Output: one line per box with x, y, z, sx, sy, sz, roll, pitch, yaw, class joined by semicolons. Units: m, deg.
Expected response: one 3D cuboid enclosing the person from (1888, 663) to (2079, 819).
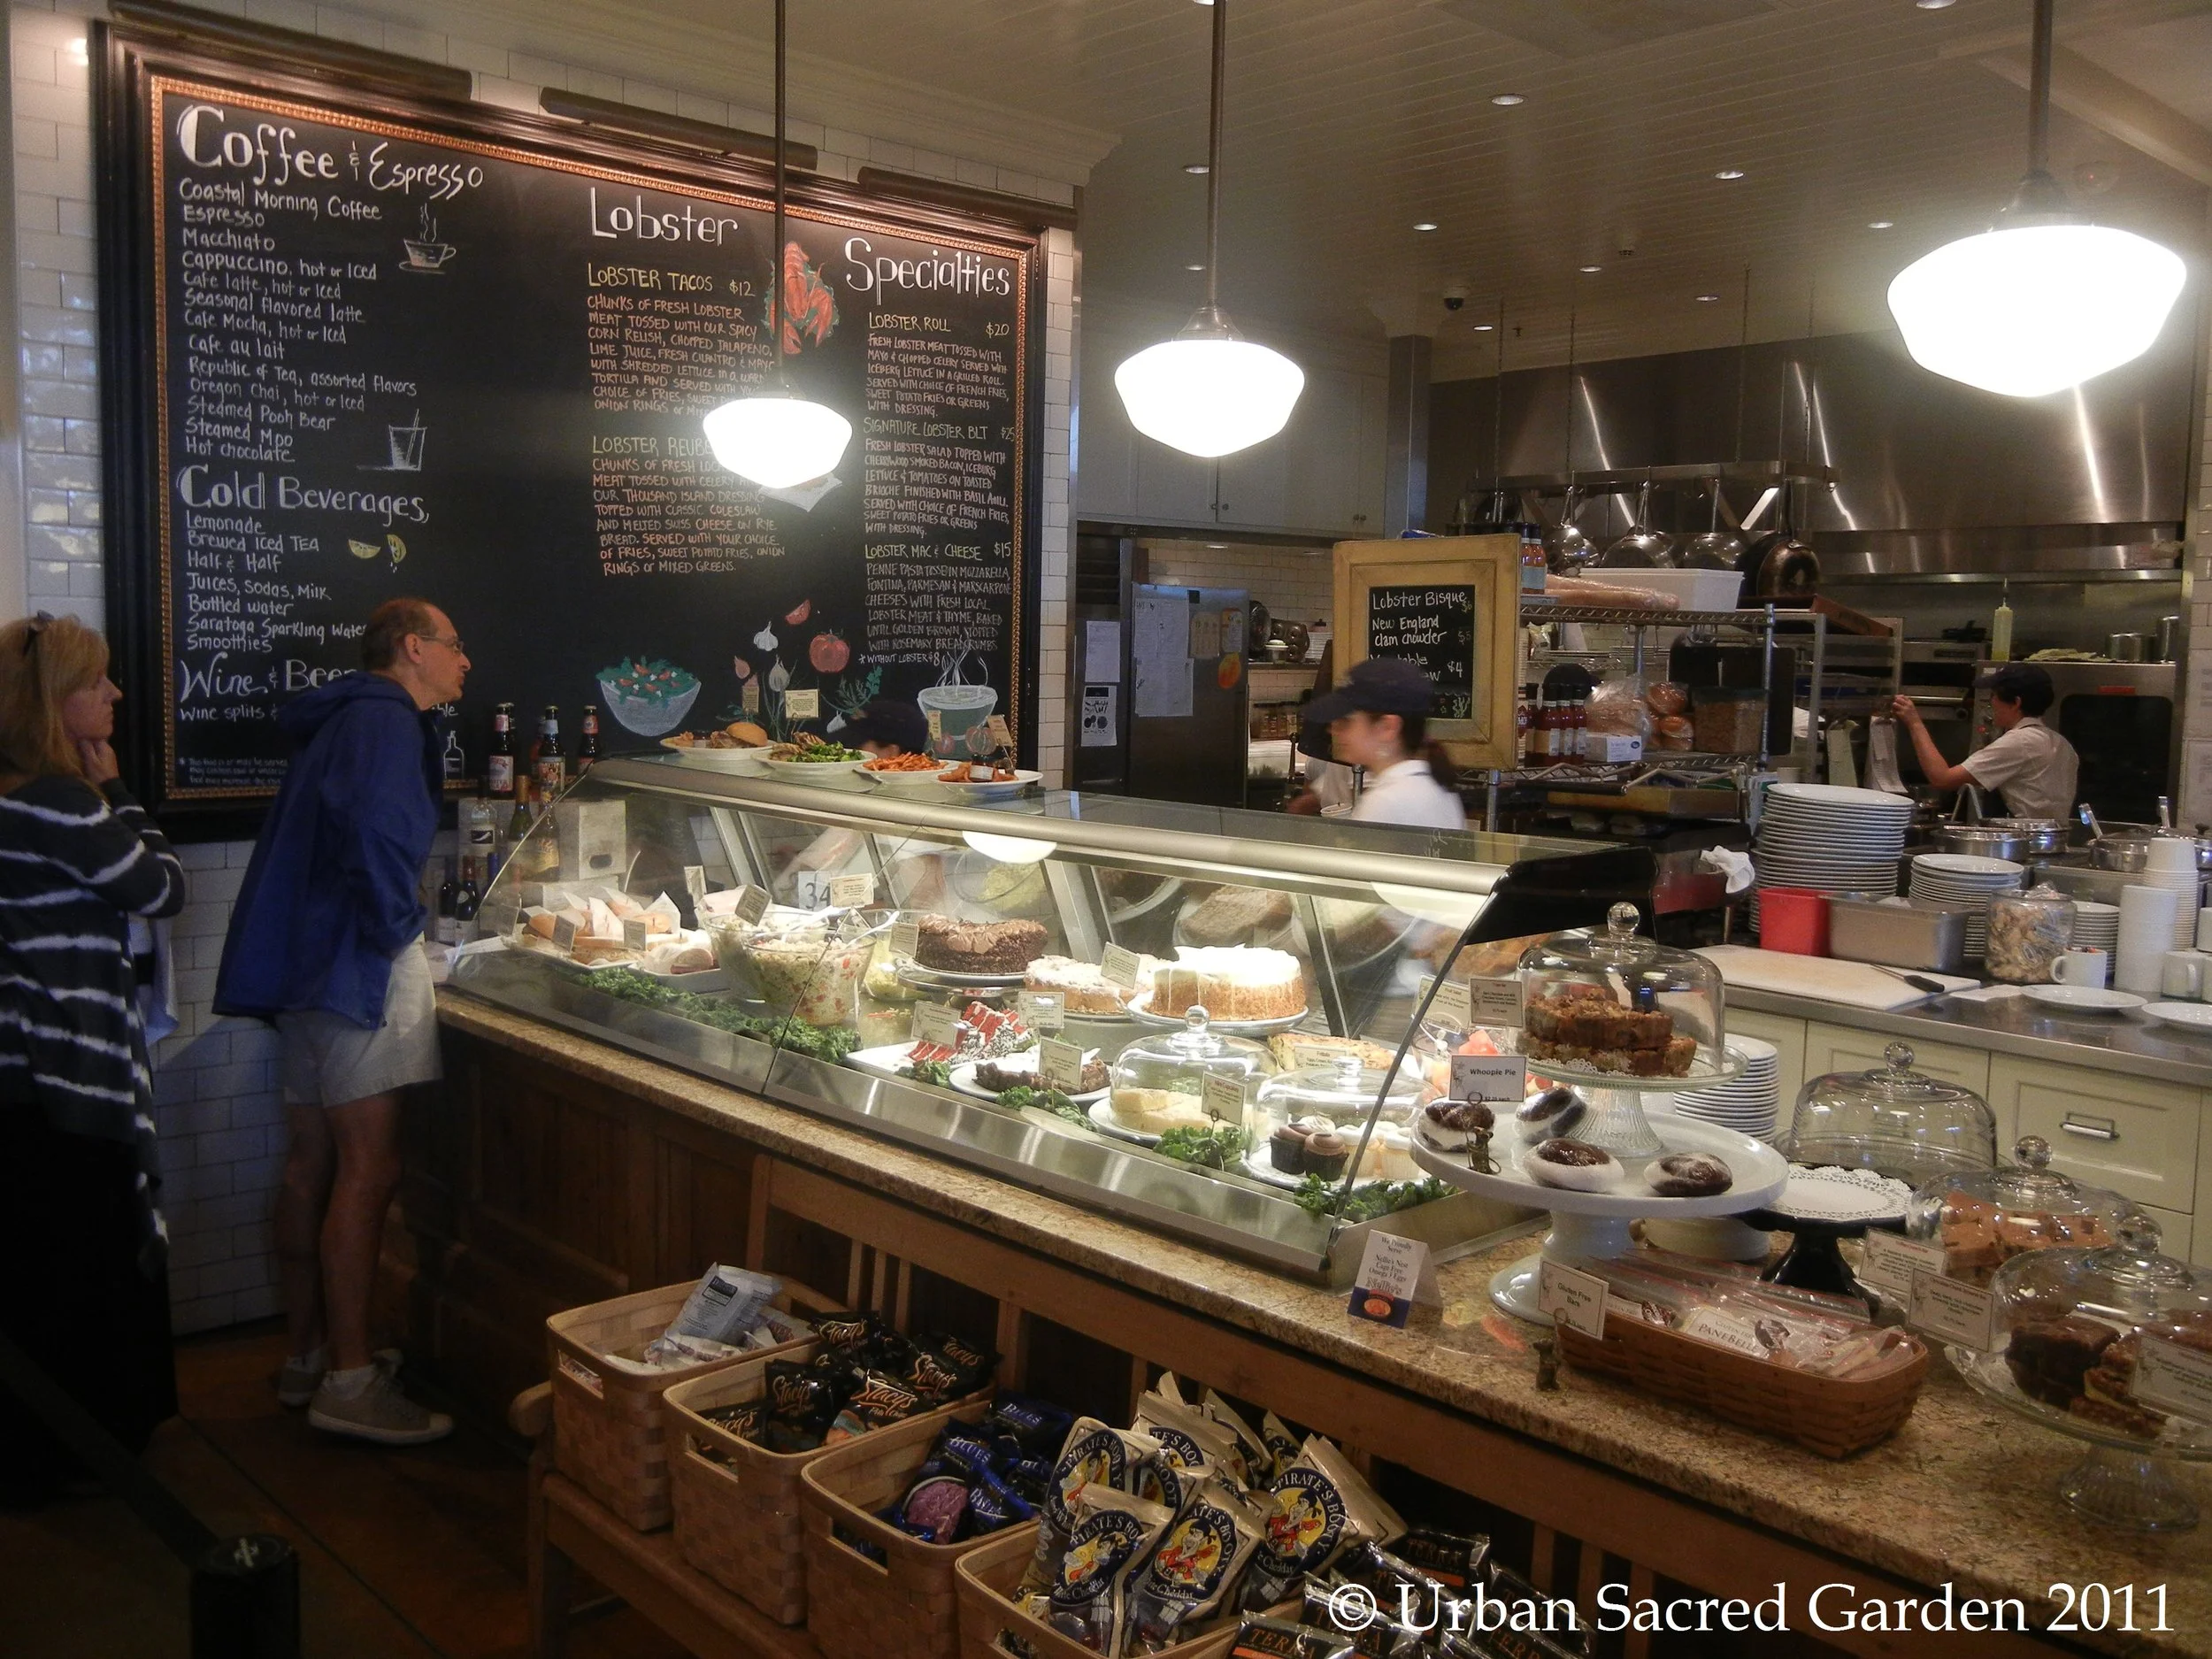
3.623;-0.336;6.759;0.552;0.612;0.885;7;11;27;person

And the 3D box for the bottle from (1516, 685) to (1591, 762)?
1.590;-0.345;5.943;0.366;0.304;0.198;1;4;10;bottle

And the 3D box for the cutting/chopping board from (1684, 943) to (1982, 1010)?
1.995;0.410;4.668;0.649;0.036;0.486;9;12;36;cutting/chopping board

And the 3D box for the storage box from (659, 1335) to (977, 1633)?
-0.530;1.181;3.117;0.350;0.258;0.503;2;1;41;storage box

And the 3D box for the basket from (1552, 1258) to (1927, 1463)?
0.904;0.714;2.397;0.259;0.087;0.376;-7;9;-43;basket

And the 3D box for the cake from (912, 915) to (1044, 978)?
-0.266;0.250;3.534;0.353;0.136;0.071;9;12;36;cake

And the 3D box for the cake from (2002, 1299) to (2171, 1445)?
1.297;0.699;2.222;0.132;0.082;0.175;-19;21;-38;cake

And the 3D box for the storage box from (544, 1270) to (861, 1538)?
-0.780;1.083;3.371;0.406;0.319;0.561;8;8;43;storage box

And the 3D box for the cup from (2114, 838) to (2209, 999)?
2.897;0.238;4.582;0.186;0.394;0.421;8;11;33;cup

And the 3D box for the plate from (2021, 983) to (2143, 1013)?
2.595;0.453;4.421;0.249;0.048;0.168;3;10;8;plate

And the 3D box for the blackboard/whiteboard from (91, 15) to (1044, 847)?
-1.670;-1.189;4.889;2.720;1.722;0.102;-2;4;-36;blackboard/whiteboard

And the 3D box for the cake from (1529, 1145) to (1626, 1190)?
0.737;0.521;2.587;0.161;0.041;0.113;-1;10;-18;cake

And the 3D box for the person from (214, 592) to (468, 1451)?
-1.913;0.494;4.295;0.552;2.125;0.458;4;10;13;person

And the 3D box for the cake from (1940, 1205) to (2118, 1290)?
1.414;0.634;2.547;0.249;0.078;0.154;5;10;17;cake

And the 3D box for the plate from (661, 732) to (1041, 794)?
-0.623;-0.153;4.164;1.086;0.080;0.325;8;11;32;plate

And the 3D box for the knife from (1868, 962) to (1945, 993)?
2.251;0.417;4.669;0.053;0.024;0.220;-7;11;-20;knife

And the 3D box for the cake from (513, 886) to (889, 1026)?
-0.926;0.341;3.929;0.801;0.222;0.383;8;3;30;cake

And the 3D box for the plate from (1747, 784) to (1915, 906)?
2.253;0.040;5.197;0.386;0.265;0.376;0;5;-11;plate

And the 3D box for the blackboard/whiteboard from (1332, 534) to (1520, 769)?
0.967;-0.514;4.952;0.738;0.838;0.117;2;4;35;blackboard/whiteboard

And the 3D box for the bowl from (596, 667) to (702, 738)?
-1.461;-0.410;5.344;0.235;0.157;0.236;-1;9;0;bowl

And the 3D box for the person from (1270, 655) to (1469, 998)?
0.800;0.107;4.890;0.518;1.103;0.457;3;13;-17;person

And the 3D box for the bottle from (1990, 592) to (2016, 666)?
4.436;-0.978;8.231;0.118;0.310;0.340;7;11;27;bottle

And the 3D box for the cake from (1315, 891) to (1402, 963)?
0.447;0.170;2.963;0.118;0.025;0.113;-7;14;-16;cake

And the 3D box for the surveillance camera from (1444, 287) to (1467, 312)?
1.796;-2.691;8.538;0.080;0.070;0.078;0;6;-13;surveillance camera

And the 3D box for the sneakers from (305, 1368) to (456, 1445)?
-1.869;1.485;4.367;0.420;0.190;0.161;7;0;-11;sneakers

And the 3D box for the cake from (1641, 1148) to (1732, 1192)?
0.901;0.527;2.572;0.120;0.042;0.140;9;12;38;cake

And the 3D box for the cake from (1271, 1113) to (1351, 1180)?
0.346;0.545;2.855;0.169;0.088;0.070;10;12;39;cake

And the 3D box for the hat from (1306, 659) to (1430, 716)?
0.772;-0.398;4.767;0.239;0.109;0.162;2;2;11;hat

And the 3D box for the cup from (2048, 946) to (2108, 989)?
2.648;0.380;4.526;0.140;0.122;0.087;0;2;35;cup

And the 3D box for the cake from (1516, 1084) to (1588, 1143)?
0.710;0.453;2.651;0.105;0.088;0.053;4;10;11;cake

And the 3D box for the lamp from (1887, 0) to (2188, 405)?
1.587;-1.060;2.818;0.444;0.614;0.264;6;10;23;lamp
